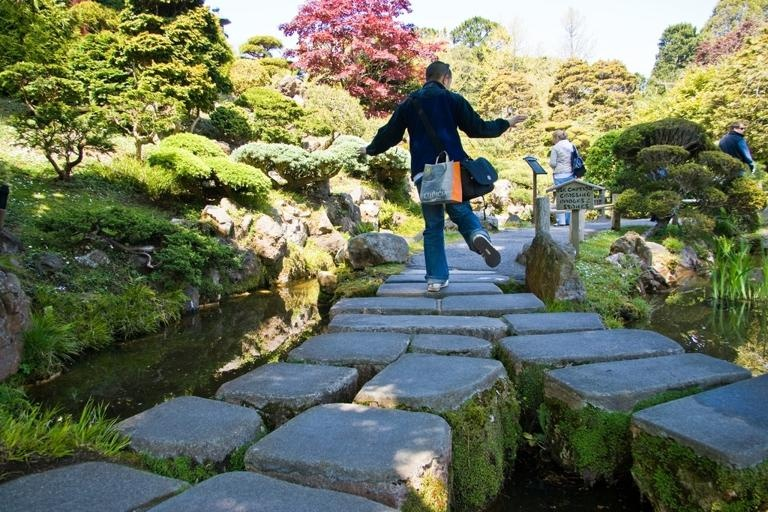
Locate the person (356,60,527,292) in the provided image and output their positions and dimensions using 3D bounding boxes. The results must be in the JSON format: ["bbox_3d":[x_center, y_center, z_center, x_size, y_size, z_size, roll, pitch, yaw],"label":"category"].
[{"bbox_3d":[0.605,-0.869,5.483,1.357,2.463,0.657,3,14,26],"label":"person"}]

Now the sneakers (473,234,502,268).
[{"bbox_3d":[1.057,-0.063,5.331,0.189,0.438,0.191,-45,-10,14],"label":"sneakers"}]

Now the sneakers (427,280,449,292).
[{"bbox_3d":[0.569,0.325,5.564,0.270,0.104,0.098,3,-1,-39],"label":"sneakers"}]

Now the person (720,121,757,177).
[{"bbox_3d":[6.854,-2.148,9.894,0.574,0.936,0.664,4,14,30],"label":"person"}]

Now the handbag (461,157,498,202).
[{"bbox_3d":[0.983,-0.856,5.395,0.295,0.392,0.494,-4,17,47],"label":"handbag"}]
